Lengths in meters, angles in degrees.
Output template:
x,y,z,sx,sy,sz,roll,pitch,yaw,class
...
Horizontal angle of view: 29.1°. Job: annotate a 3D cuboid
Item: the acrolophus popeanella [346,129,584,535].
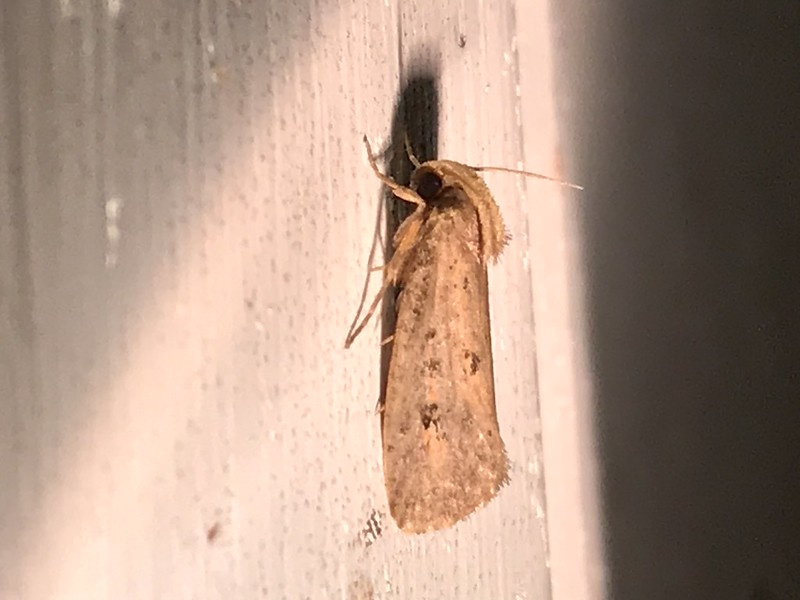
x,y,z,sx,sy,sz,roll,pitch,yaw,class
0.042,0.028,1.567,0.215,0.484,0.163,20,-44,-15,acrolophus popeanella
